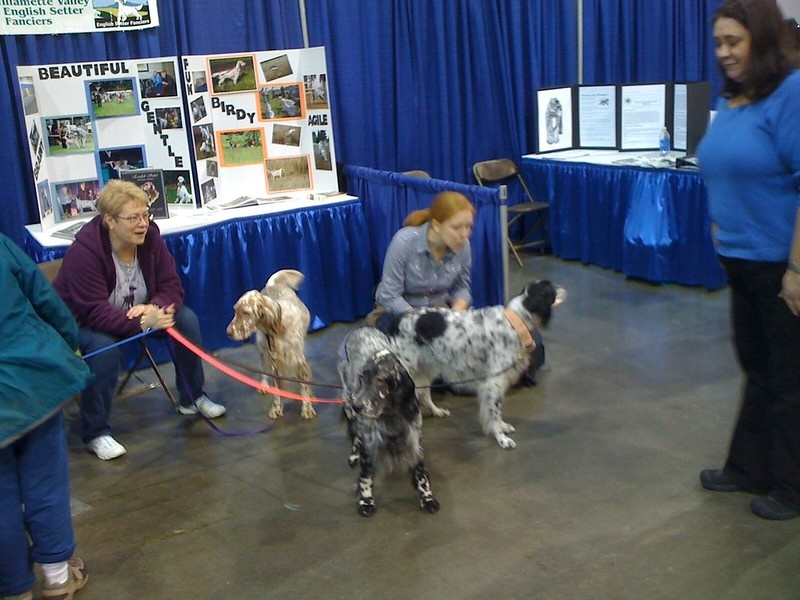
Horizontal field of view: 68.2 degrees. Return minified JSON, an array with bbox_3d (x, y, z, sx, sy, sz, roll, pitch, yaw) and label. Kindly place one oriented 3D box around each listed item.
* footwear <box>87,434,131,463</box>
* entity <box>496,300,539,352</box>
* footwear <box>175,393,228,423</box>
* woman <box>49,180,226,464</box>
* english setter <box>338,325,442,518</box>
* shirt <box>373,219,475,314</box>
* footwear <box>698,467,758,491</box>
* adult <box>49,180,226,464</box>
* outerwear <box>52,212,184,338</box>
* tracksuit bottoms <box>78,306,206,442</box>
[{"bbox_3d":[-1.888,0.942,3.819,0.247,0.107,0.122,13,33,38],"label":"footwear"},{"bbox_3d":[0.701,0.178,3.490,0.083,0.240,0.171,-33,5,-23],"label":"entity"},{"bbox_3d":[-1.410,0.780,4.237,0.347,0.174,0.142,-1,3,8],"label":"footwear"},{"bbox_3d":[-1.773,0.060,4.040,0.930,1.647,0.983,-9,19,-41],"label":"woman"},{"bbox_3d":[-0.101,0.643,3.115,0.443,0.983,0.549,-14,17,-26],"label":"english setter"},{"bbox_3d":[0.200,-0.216,4.069,0.636,0.612,0.374,-4,24,-18],"label":"shirt"},{"bbox_3d":[1.725,0.958,3.116,0.240,0.124,0.108,12,25,24],"label":"footwear"},{"bbox_3d":[-1.850,0.073,3.944,0.963,1.646,0.903,8,15,17],"label":"adult"},{"bbox_3d":[-1.825,-0.170,3.995,0.763,0.700,0.762,7,17,43],"label":"outerwear"},{"bbox_3d":[-1.752,0.522,4.023,0.589,1.085,0.743,12,14,36],"label":"tracksuit bottoms"}]
